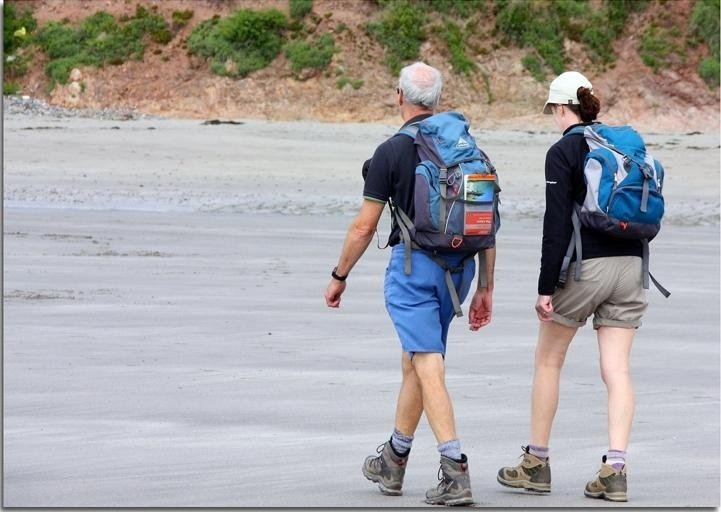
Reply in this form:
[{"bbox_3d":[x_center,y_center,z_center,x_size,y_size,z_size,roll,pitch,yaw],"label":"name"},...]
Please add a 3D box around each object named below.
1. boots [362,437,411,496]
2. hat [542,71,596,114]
[{"bbox_3d":[0.228,2.246,14.054,0.337,0.474,0.754,12,17,-26],"label":"boots"},{"bbox_3d":[2.236,-1.798,14.154,0.430,0.295,0.546,-2,6,-8],"label":"hat"}]
